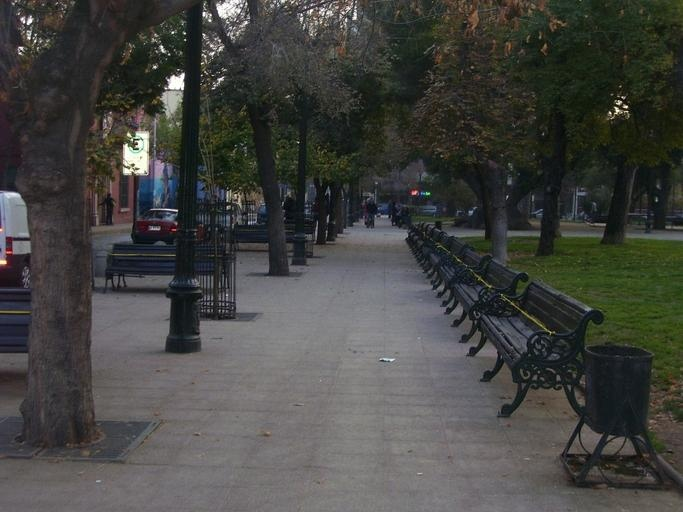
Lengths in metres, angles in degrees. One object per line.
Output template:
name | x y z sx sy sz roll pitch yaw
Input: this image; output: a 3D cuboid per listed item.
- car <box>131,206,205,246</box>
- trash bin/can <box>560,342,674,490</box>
car | -4.708 -0.740 25.200 1.583 1.218 3.613 3 5 9
trash bin/can | 2.539 1.465 9.312 1.077 1.521 1.111 5 1 8
